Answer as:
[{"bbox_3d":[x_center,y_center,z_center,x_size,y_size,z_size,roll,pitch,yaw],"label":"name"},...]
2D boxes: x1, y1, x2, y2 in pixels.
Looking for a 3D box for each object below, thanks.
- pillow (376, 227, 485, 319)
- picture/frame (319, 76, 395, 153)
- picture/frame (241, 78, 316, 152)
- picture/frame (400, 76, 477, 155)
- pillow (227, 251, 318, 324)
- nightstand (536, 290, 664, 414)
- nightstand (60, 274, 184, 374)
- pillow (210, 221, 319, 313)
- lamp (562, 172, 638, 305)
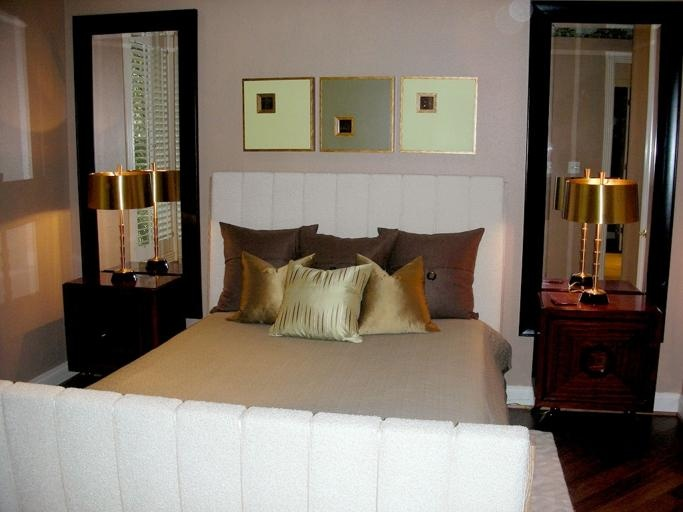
[{"bbox_3d":[0.536,0.065,3.761,0.851,0.775,0.452,-1,11,2],"label":"pillow"},{"bbox_3d":[0.129,-1.022,4.003,0.484,0.500,0.035,2,13,7],"label":"picture/frame"},{"bbox_3d":[-0.432,-1.040,4.075,0.476,0.500,0.050,1,12,4],"label":"picture/frame"},{"bbox_3d":[0.690,-1.001,3.938,0.486,0.499,0.049,2,12,10],"label":"picture/frame"},{"bbox_3d":[-0.493,0.211,3.495,0.421,0.437,0.133,7,-5,16],"label":"pillow"},{"bbox_3d":[1.635,0.586,3.723,0.677,0.678,0.711,1,4,12],"label":"nightstand"},{"bbox_3d":[-1.544,0.434,4.176,0.810,0.805,0.619,0,5,15],"label":"nightstand"},{"bbox_3d":[-0.586,0.106,3.766,0.587,0.613,0.215,-1,-5,3],"label":"pillow"},{"bbox_3d":[1.627,-0.124,3.637,0.435,0.856,0.511,4,8,22],"label":"lamp"}]
